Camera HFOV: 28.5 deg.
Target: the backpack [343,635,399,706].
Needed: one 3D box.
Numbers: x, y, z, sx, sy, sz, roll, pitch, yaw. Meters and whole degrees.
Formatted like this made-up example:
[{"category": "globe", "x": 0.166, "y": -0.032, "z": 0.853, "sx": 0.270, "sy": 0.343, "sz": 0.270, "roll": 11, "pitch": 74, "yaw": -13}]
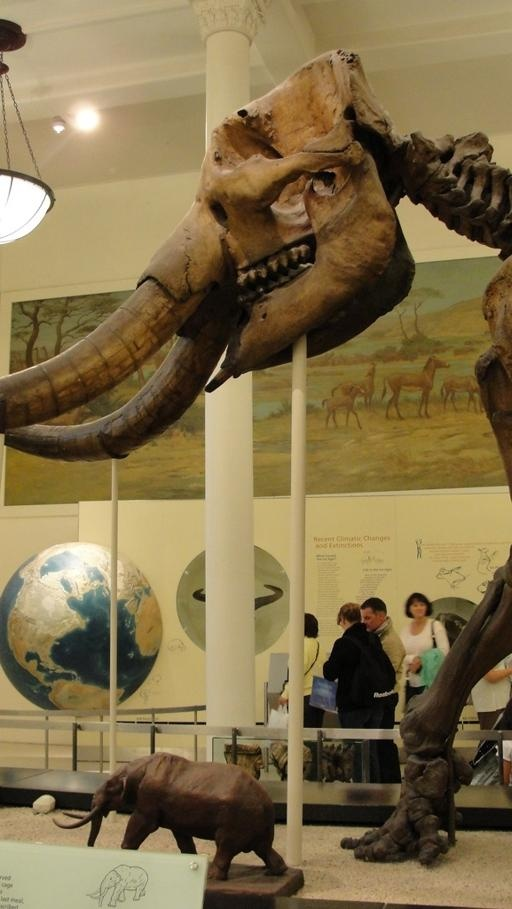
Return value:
[{"category": "backpack", "x": 0.559, "y": 1.038, "z": 4.896, "sx": 0.218, "sy": 0.355, "sz": 0.351, "roll": -1, "pitch": -12, "yaw": 5}]
